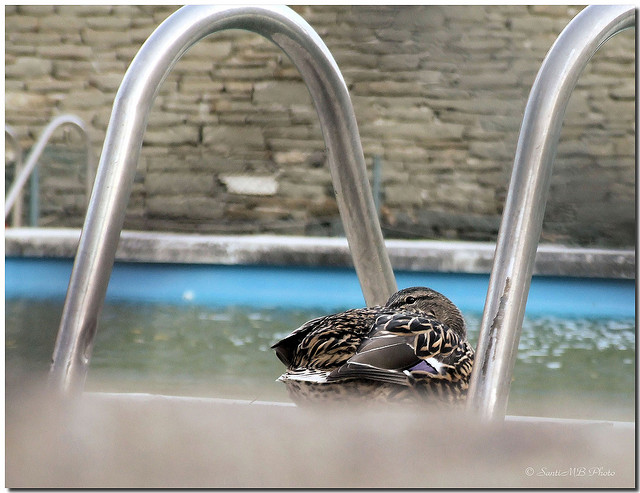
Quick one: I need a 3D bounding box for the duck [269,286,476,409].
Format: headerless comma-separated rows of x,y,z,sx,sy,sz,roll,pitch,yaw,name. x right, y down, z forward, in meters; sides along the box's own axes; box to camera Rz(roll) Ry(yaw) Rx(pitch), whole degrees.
0.176,0.366,3.414,0.845,0.468,0.594,-2,2,-36,duck
